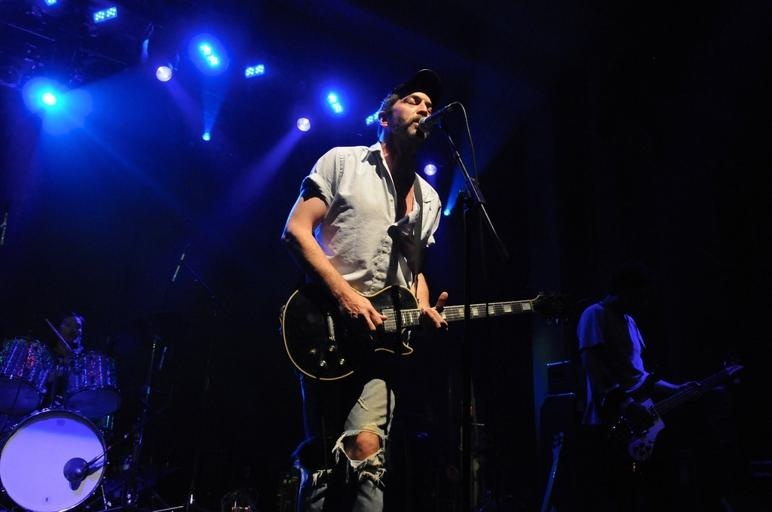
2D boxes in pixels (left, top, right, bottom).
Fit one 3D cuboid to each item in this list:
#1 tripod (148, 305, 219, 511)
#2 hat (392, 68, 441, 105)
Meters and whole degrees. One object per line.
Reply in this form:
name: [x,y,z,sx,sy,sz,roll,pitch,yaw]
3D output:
tripod: [-3.175,2.308,10.193,0.738,2.952,0.714,4,-30,-5]
hat: [0.332,-2.036,7.735,0.592,0.823,0.272,18,-77,-25]
